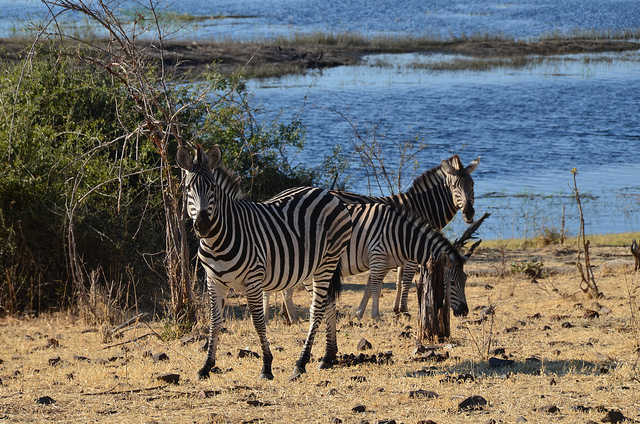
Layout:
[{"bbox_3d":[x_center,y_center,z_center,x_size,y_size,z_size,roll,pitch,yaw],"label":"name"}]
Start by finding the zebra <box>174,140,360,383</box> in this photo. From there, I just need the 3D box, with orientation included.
[{"bbox_3d":[-1.679,1.537,36.638,2.511,7.565,8.887,1,3,37],"label":"zebra"}]

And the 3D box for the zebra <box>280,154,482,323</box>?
[{"bbox_3d":[2.936,1.591,40.032,7.135,7.028,4.884,5,6,19],"label":"zebra"}]
